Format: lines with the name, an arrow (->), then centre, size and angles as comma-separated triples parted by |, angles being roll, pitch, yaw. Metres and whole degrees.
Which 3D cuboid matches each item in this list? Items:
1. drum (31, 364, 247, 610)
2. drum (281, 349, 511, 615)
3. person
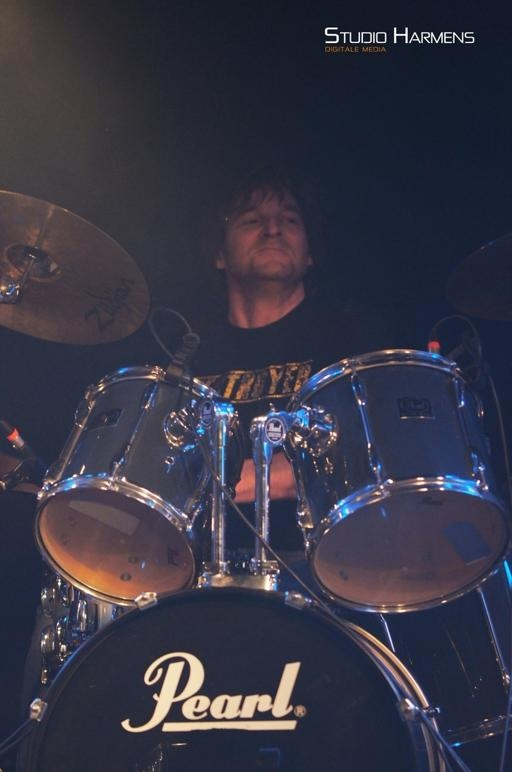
drum -> -0.332, 0.258, 2.409 | 0.421, 0.522, 0.434 | 1, 25, 13
drum -> 0.280, 0.244, 2.394 | 0.648, 0.622, 0.581 | -11, 42, 3
person -> 0.018, 0.171, 3.416 | 1.058, 1.508, 1.390 | 4, 50, 2
